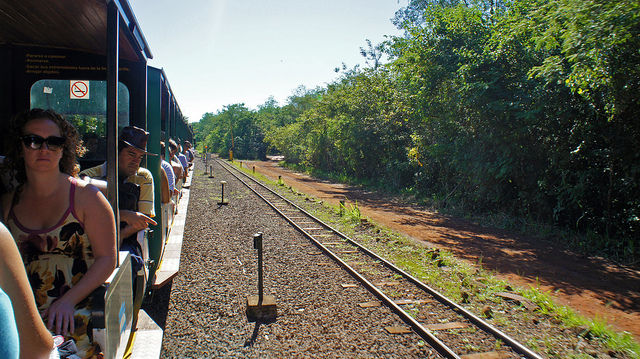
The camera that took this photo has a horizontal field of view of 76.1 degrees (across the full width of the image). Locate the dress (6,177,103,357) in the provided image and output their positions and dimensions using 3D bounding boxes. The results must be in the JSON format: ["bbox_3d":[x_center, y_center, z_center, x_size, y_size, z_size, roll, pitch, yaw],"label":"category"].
[{"bbox_3d":[-3.781,1.248,5.932,1.451,2.428,0.740,7,15,21],"label":"dress"}]

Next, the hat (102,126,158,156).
[{"bbox_3d":[-3.505,-0.747,7.709,0.511,0.206,0.449,30,6,10],"label":"hat"}]

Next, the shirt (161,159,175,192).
[{"bbox_3d":[-4.004,-0.068,10.777,0.180,0.936,0.958,-3,15,-15],"label":"shirt"}]
